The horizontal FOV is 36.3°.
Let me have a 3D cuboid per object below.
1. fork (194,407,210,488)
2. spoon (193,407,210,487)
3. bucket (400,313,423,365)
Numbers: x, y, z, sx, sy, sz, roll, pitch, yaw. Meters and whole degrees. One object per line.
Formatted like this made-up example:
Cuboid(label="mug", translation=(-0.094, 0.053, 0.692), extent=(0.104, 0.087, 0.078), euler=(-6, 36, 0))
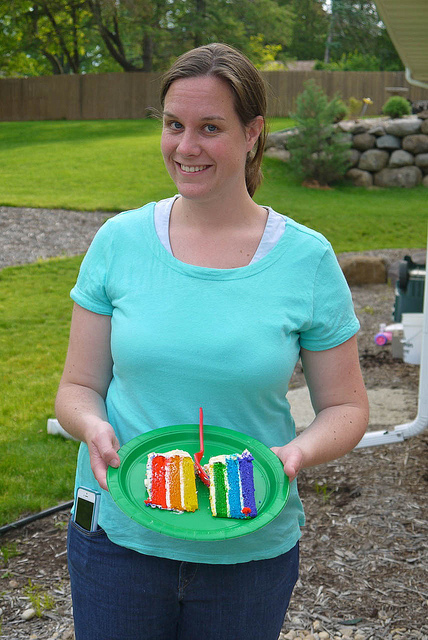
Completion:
Cuboid(label="fork", translation=(-0.027, 0.300, 1.542), extent=(0.038, 0.182, 0.036), euler=(-1, -5, 2))
Cuboid(label="spoon", translation=(-0.031, 0.299, 1.544), extent=(0.036, 0.184, 0.035), euler=(0, -10, -14))
Cuboid(label="bucket", translation=(1.614, 0.161, 5.374), extent=(0.156, 0.359, 0.433), euler=(2, 10, 17))
